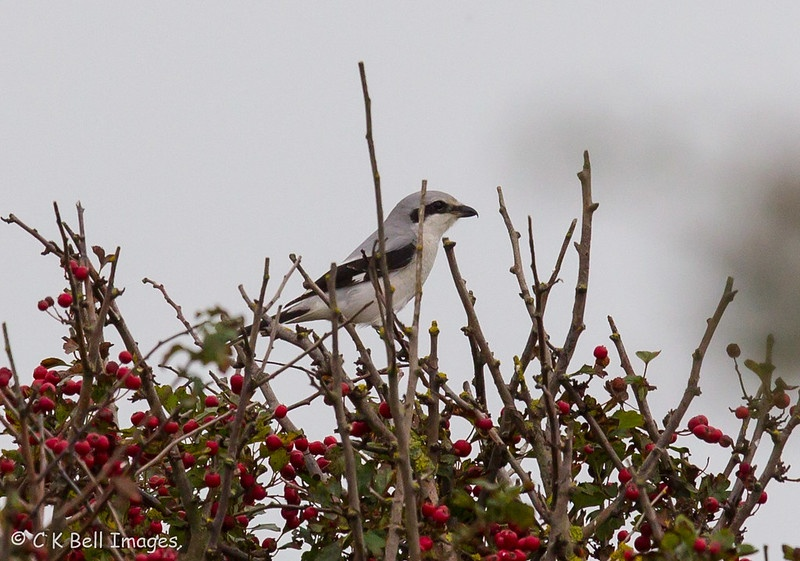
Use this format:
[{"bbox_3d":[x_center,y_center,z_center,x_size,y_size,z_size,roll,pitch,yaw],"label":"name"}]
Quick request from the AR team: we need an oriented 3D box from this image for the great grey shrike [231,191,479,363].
[{"bbox_3d":[-0.377,-0.121,10.121,1.812,1.146,0.531,-3,-7,-3],"label":"great grey shrike"}]
